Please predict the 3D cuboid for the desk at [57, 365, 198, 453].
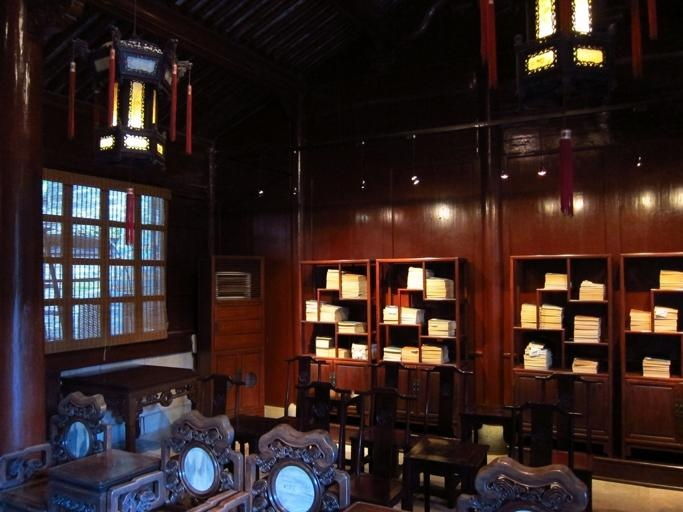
[{"bbox_3d":[-2.101,1.689,6.552,1.172,0.708,1.193,-5,-18,-32],"label":"desk"}]
